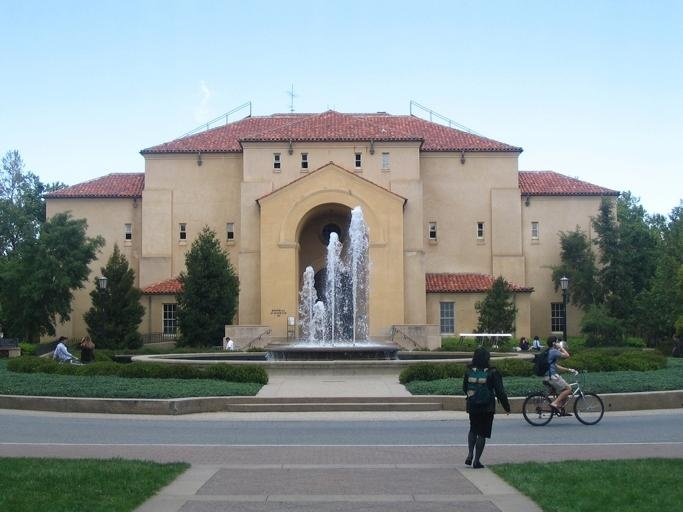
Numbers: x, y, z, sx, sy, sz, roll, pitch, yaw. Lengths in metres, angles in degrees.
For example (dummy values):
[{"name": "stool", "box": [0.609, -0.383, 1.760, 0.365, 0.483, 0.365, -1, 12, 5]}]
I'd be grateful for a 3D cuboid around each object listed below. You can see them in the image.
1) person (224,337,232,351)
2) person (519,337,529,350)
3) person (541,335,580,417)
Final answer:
[{"name": "person", "box": [-6.294, 4.853, 65.871, 0.528, 0.705, 1.486, 1, -6, -6]}, {"name": "person", "box": [10.176, 4.895, 65.909, 0.557, 0.701, 1.207, -1, -3, 6]}, {"name": "person", "box": [8.190, 4.463, 44.386, 1.043, 2.811, 1.490, -1, -6, 16]}]
